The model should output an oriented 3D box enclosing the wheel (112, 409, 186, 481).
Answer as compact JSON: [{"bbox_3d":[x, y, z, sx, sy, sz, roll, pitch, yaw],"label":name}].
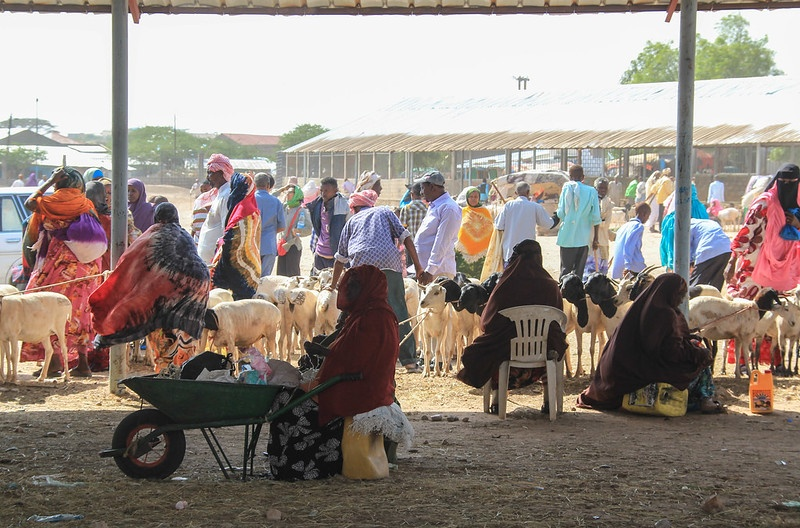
[{"bbox_3d":[-2.646,1.876,10.614,0.754,0.739,0.226,-31,2,-41],"label":"wheel"}]

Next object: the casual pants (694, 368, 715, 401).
[{"bbox_3d":[3.783,1.505,12.912,0.255,0.388,0.171,2,-4,22],"label":"casual pants"}]

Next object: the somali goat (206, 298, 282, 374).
[{"bbox_3d":[-2.285,0.980,14.207,0.440,0.921,1.885,-5,-4,30],"label":"somali goat"}]

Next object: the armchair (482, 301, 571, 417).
[{"bbox_3d":[1.584,1.173,13.144,1.188,1.364,1.113,-6,8,-40],"label":"armchair"}]

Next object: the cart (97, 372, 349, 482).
[{"bbox_3d":[-1.768,1.684,10.875,2.705,1.191,1.352,1,-9,-4],"label":"cart"}]

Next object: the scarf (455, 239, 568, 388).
[{"bbox_3d":[1.386,0.507,12.308,0.945,1.325,2.355,2,-10,2],"label":"scarf"}]

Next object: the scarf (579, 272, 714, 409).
[{"bbox_3d":[3.223,0.947,13.145,1.633,1.659,1.387,6,8,-1],"label":"scarf"}]

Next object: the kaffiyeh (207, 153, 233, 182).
[{"bbox_3d":[-2.599,-1.396,14.689,0.352,0.349,0.391,1,5,-13],"label":"kaffiyeh"}]
